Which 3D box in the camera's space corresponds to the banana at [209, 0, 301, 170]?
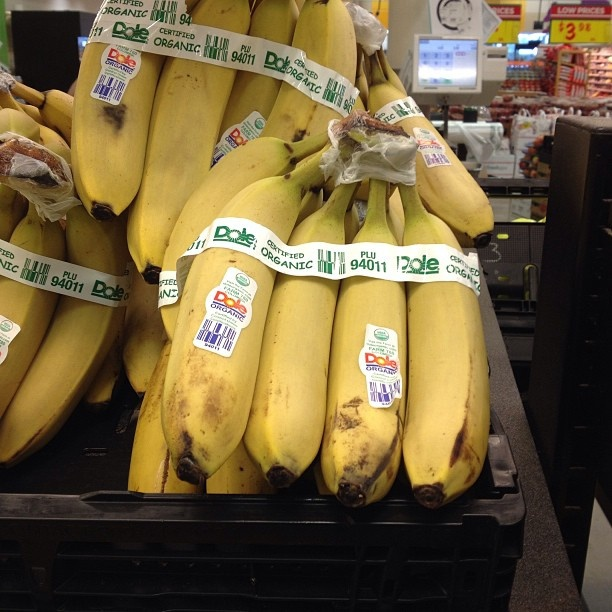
[{"bbox_3d":[-0.109,-0.315,0.974,0.087,0.373,0.118,12,17,-7],"label":"banana"}]
